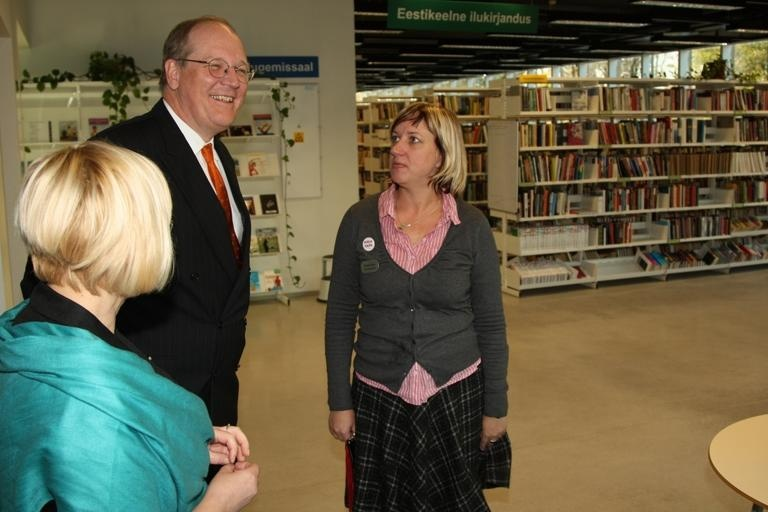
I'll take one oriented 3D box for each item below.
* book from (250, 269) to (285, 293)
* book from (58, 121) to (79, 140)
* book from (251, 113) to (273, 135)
[{"bbox_3d":[-1.593,0.407,7.592,0.496,0.380,0.276,-1,-10,-13],"label":"book"},{"bbox_3d":[-3.733,-1.478,6.710,0.229,0.323,0.033,0,-13,-23],"label":"book"},{"bbox_3d":[-1.616,-1.733,7.446,0.298,0.338,0.036,2,-18,-23],"label":"book"}]
